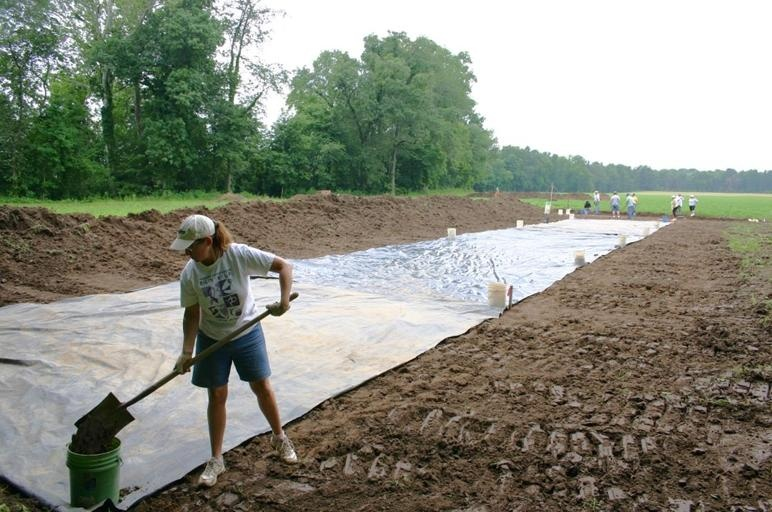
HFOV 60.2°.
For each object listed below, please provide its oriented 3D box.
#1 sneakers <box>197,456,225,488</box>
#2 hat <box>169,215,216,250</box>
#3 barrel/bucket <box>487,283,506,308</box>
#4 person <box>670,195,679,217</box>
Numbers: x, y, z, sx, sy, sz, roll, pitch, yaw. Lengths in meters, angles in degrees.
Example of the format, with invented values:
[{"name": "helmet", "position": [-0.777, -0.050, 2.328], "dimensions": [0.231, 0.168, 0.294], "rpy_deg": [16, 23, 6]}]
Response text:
[{"name": "sneakers", "position": [-2.139, 2.671, 8.265], "dimensions": [0.198, 0.199, 0.463], "rpy_deg": [3, 13, 11]}, {"name": "hat", "position": [-2.326, -0.267, 8.090], "dimensions": [0.372, 0.280, 0.545], "rpy_deg": [18, 44, 41]}, {"name": "barrel/bucket", "position": [2.104, 0.755, 12.498], "dimensions": [0.341, 0.421, 0.300], "rpy_deg": [3, 7, 7]}, {"name": "person", "position": [13.973, -2.277, 32.037], "dimensions": [0.215, 1.027, 0.802], "rpy_deg": [4, 7, 18]}]
